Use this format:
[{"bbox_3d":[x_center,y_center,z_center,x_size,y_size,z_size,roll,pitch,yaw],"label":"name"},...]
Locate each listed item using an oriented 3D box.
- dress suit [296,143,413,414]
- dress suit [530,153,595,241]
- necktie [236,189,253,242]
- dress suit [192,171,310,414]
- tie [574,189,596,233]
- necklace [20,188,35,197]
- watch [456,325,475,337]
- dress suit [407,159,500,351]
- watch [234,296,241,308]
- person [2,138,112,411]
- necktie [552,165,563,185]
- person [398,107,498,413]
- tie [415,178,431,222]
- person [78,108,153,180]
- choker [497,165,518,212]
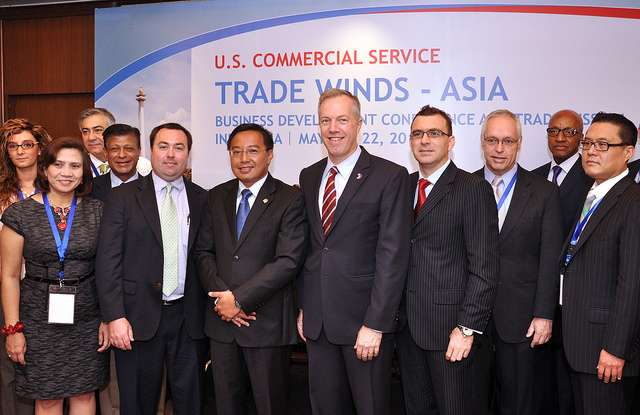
[{"bbox_3d":[0.258,0.610,4.183,0.925,2.175,0.497,1,8,9],"label":"dress suit"},{"bbox_3d":[2.361,-0.142,5.031,0.459,0.413,0.812,0,31,-2],"label":"dress suit"},{"bbox_3d":[-0.602,0.064,4.299,0.086,0.436,0.086,-1,-24,11],"label":"necktie"},{"bbox_3d":[-0.547,0.708,4.332,0.949,1.943,0.545,-1,8,-2],"label":"dress suit"},{"bbox_3d":[2.119,0.008,4.188,0.074,0.424,0.038,21,-24,35],"label":"tie"},{"bbox_3d":[-2.585,-0.135,4.693,0.094,0.022,0.088,17,2,-3],"label":"necklace"},{"bbox_3d":[1.124,0.937,4.031,0.076,0.038,0.092,22,-5,-37],"label":"watch"},{"bbox_3d":[0.993,0.383,4.383,0.563,1.498,1.005,-4,3,-34],"label":"dress suit"},{"bbox_3d":[-0.641,0.735,4.104,0.020,0.062,0.062,-26,25,-19],"label":"watch"},{"bbox_3d":[-2.143,0.487,4.277,0.800,2.066,0.408,-4,9,-22],"label":"person"},{"bbox_3d":[2.318,-0.332,5.165,0.046,0.148,0.096,2,-1,-44],"label":"necktie"},{"bbox_3d":[1.009,0.442,4.200,0.745,2.453,0.539,2,9,18],"label":"person"},{"bbox_3d":[0.819,-0.069,4.250,0.086,0.357,0.049,2,-18,20],"label":"tie"},{"bbox_3d":[-2.426,-0.686,5.834,1.038,0.874,0.467,4,15,-4],"label":"person"},{"bbox_3d":[1.577,-0.146,4.433,0.050,0.461,0.025,29,-21,10],"label":"choker"}]
